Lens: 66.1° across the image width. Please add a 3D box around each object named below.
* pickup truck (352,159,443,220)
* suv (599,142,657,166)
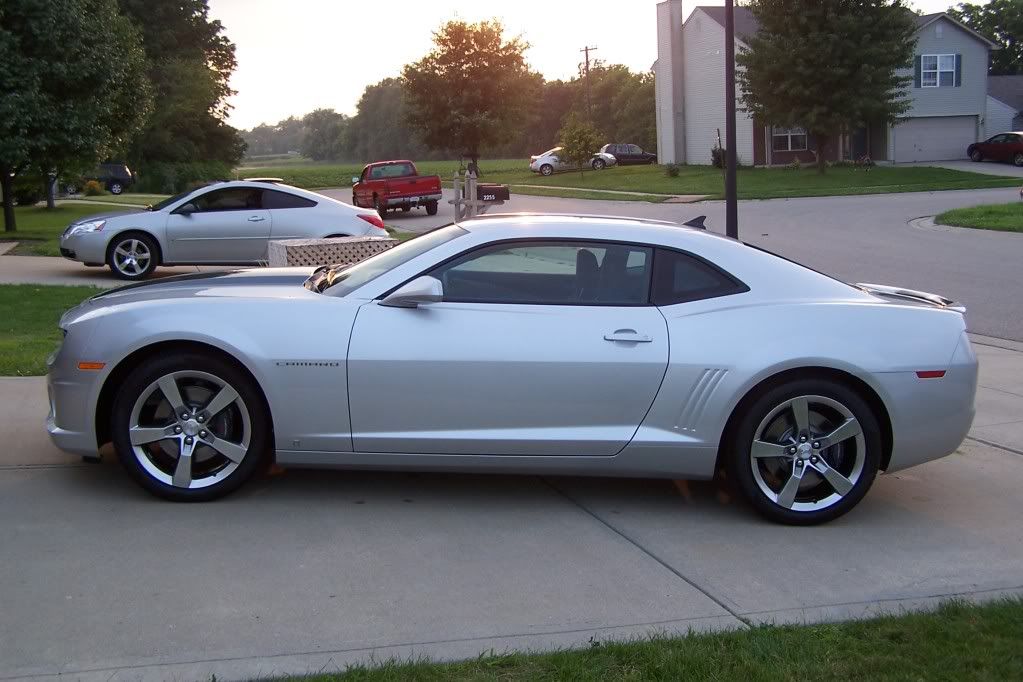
[{"bbox_3d":[-4.628,-5.811,30.405,1.932,1.647,4.067,-2,21,-22],"label":"pickup truck"},{"bbox_3d":[8.235,-13.139,54.953,3.893,1.577,2.025,-3,18,-11],"label":"suv"}]
